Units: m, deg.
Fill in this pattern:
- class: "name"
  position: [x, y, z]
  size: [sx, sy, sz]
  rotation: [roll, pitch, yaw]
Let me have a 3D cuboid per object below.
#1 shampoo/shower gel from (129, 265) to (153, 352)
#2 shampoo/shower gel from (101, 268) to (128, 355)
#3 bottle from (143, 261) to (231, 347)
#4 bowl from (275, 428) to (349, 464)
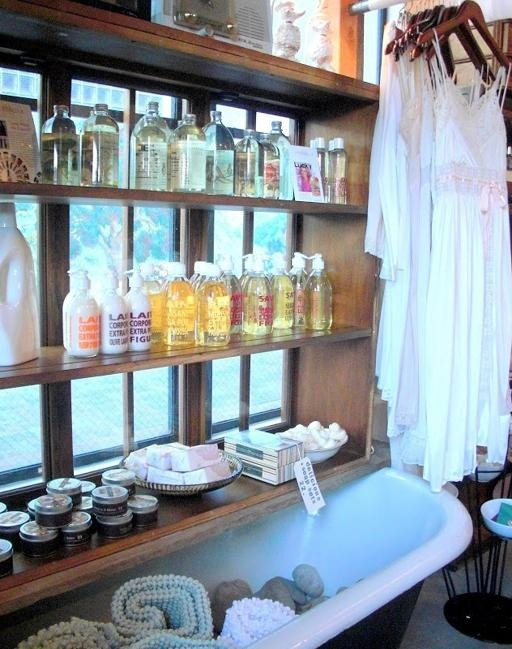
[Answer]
- class: "shampoo/shower gel"
  position: [-0.280, -0.033, 1.256]
  size: [0.056, 0.188, 0.072]
  rotation: [-5, 7, -17]
- class: "shampoo/shower gel"
  position: [-0.322, -0.025, 1.191]
  size: [0.047, 0.183, 0.066]
  rotation: [-1, 7, 11]
- class: "bottle"
  position: [-0.152, -0.059, 1.410]
  size: [0.259, 0.241, 0.209]
  rotation: [3, 11, 18]
- class: "bowl"
  position: [0.196, 0.386, 1.762]
  size: [0.152, 0.061, 0.155]
  rotation: [5, 13, -1]
